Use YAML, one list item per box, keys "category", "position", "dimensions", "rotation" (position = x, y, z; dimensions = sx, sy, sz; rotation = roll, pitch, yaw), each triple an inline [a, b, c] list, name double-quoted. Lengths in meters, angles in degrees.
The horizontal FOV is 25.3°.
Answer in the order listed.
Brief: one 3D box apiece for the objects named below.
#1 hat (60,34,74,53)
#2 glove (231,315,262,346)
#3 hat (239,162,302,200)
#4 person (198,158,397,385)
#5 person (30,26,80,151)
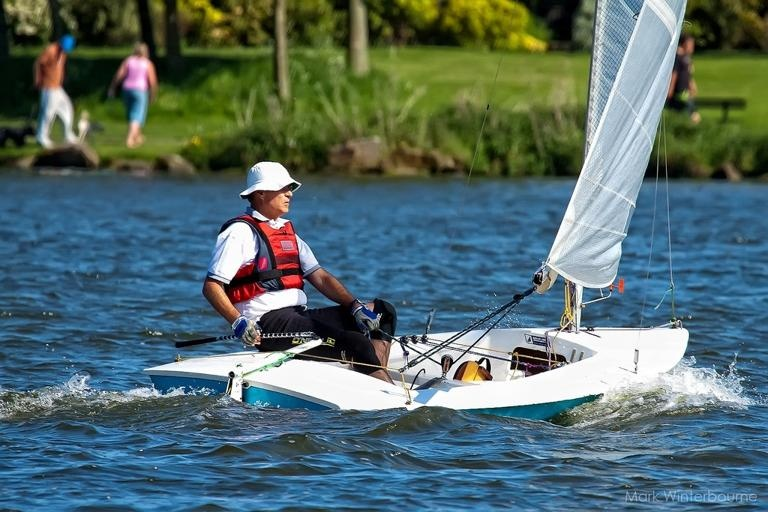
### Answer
- category: "hat"
  position: [-2.859, -1.948, 15.433]
  dimensions: [0.121, 0.173, 0.162]
  rotation: [0, 11, 0]
- category: "glove"
  position: [-1.223, 0.666, 15.083]
  dimensions: [0.282, 0.207, 0.125]
  rotation: [22, 32, 13]
- category: "hat"
  position: [-1.085, -0.741, 15.541]
  dimensions: [0.435, 0.260, 0.552]
  rotation: [-18, 5, 41]
- category: "person"
  position: [-0.817, 0.124, 15.397]
  dimensions: [1.616, 1.928, 0.824]
  rotation: [-1, 11, -4]
- category: "person"
  position: [-2.967, -1.492, 15.412]
  dimensions: [0.368, 1.004, 0.188]
  rotation: [-2, 12, -10]
